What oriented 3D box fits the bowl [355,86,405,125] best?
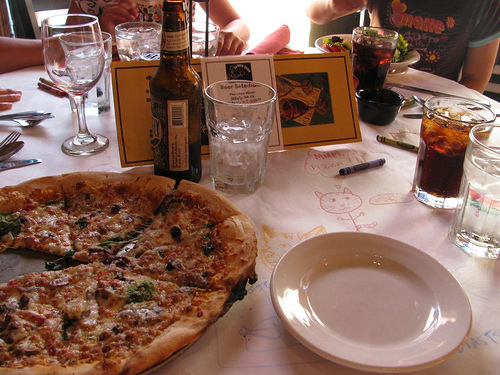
[{"bbox_3d":[0.409,-0.251,1.259,0.131,0.063,0.127,3,32,-2],"label":"bowl"}]

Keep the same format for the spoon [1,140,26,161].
[{"bbox_3d":[-0.625,-0.098,1.023,0.019,0.013,0.091,23,36,5],"label":"spoon"}]

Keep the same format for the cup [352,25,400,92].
[{"bbox_3d":[0.442,-0.445,1.411,0.155,0.233,0.155,3,28,-1],"label":"cup"}]

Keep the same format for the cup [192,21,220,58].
[{"bbox_3d":[-0.133,-0.517,1.390,0.122,0.091,0.105,-30,29,-25],"label":"cup"}]

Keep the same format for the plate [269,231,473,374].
[{"bbox_3d":[0.203,0.187,0.683,0.334,0.065,0.276,-8,34,-12],"label":"plate"}]

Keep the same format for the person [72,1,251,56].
[{"bbox_3d":[-0.414,-0.807,1.867,0.779,0.274,0.690,1,31,-1],"label":"person"}]

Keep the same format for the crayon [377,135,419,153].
[{"bbox_3d":[0.443,-0.127,1.172,0.142,0.022,0.024,23,37,26],"label":"crayon"}]
